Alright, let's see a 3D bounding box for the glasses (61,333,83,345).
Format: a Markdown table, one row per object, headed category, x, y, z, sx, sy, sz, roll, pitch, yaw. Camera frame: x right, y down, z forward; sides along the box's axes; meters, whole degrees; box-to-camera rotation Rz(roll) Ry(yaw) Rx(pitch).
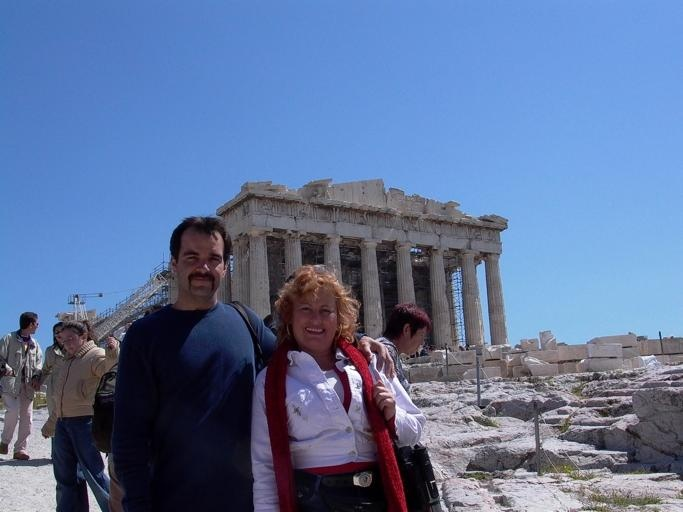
| category | x | y | z | sx | sy | sz | roll | pitch | yaw |
| --- | --- | --- | --- | --- | --- | --- | --- | --- | --- |
| glasses | -2.998 | 0.910 | 6.060 | 0.115 | 0.154 | 0.169 | -3 | -5 | 4 |
